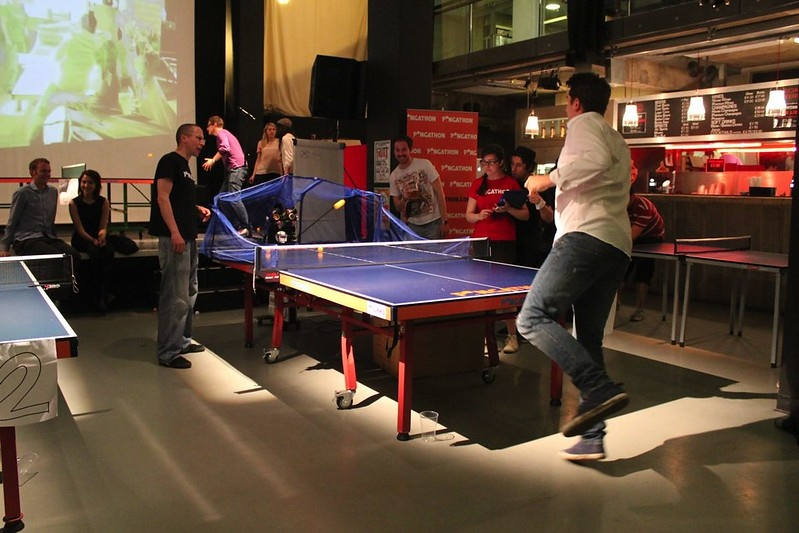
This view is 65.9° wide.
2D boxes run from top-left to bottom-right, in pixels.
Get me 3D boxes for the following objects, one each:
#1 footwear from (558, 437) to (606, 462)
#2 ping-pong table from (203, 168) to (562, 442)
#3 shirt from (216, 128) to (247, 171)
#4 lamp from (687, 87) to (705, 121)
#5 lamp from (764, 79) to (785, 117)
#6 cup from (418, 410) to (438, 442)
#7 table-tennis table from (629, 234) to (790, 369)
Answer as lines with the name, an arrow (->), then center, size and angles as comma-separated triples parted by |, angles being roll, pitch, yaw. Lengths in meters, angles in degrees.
footwear -> 1.253, 1.247, 4.215 | 0.285, 0.129, 0.150 | -1, -1, 33
ping-pong table -> -0.347, 0.136, 5.596 | 1.943, 1.787, 3.322 | -8, 13, -32
shirt -> -2.419, -1.692, 8.845 | 0.354, 0.555, 0.214 | -4, 12, -16
lamp -> 4.322, -2.332, 8.943 | 0.199, 0.341, 0.651 | 5, 12, 24
lamp -> 5.329, -2.350, 8.623 | 0.270, 0.399, 0.274 | -4, 18, 18
cup -> 0.217, 1.176, 4.539 | 0.115, 0.159, 0.182 | -1, 11, -3
table-tennis table -> 3.722, 0.161, 7.283 | 1.477, 1.127, 2.923 | 7, 13, 32
